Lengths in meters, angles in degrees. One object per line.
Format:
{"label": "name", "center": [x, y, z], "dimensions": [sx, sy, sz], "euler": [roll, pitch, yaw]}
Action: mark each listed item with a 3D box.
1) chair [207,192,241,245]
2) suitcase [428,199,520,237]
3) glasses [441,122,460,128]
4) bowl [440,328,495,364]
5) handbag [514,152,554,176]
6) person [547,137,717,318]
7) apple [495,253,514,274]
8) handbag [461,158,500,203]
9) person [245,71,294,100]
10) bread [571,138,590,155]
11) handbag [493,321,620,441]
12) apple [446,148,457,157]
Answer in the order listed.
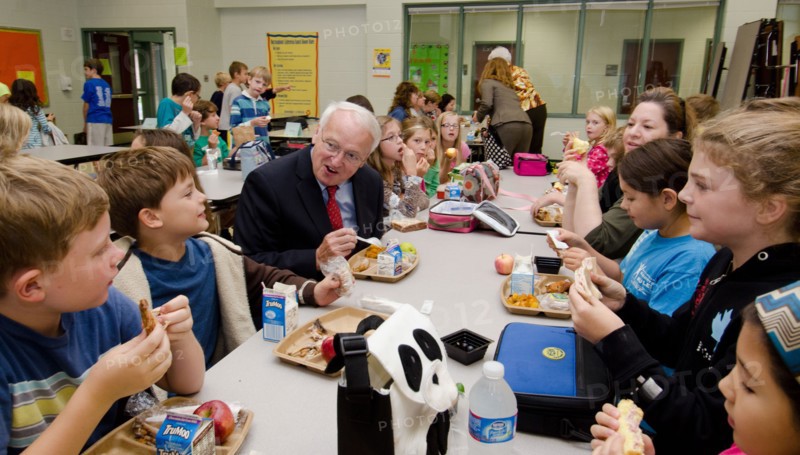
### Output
{"label": "chair", "center": [-1.647, -0.093, 4.875], "dimensions": [0.294, 0.435, 0.628], "euler": [6, 13, -21]}
{"label": "suitcase", "center": [0.506, -0.091, 3.771], "dimensions": [0.511, 0.131, 0.305], "euler": [4, 10, 9]}
{"label": "glasses", "center": [0.534, -1.055, 5.265], "dimensions": [0.201, 0.055, 0.080], "euler": [-12, 19, -32]}
{"label": "bowl", "center": [0.300, 0.556, 2.391], "dimensions": [0.168, 0.080, 0.213], "euler": [20, 21, 40]}
{"label": "handbag", "center": [1.454, -0.711, 5.713], "dimensions": [0.280, 0.168, 0.271], "euler": [1, 12, 5]}
{"label": "person", "center": [1.155, -0.153, 3.147], "dimensions": [0.917, 1.377, 0.762], "euler": [2, 19, 11]}
{"label": "apple", "center": [0.632, 0.219, 3.123], "dimensions": [0.107, 0.108, 0.111], "euler": [12, 28, 44]}
{"label": "handbag", "center": [0.726, -0.404, 4.560], "dimensions": [0.301, 0.355, 0.383], "euler": [5, 18, 34]}
{"label": "person", "center": [-1.984, -1.947, 7.162], "dimensions": [0.597, 0.324, 0.777], "euler": [5, 10, -44]}
{"label": "bread", "center": [1.704, -0.773, 4.823], "dimensions": [0.161, 0.073, 0.204], "euler": [-12, 8, 12]}
{"label": "handbag", "center": [0.688, 0.656, 2.339], "dimensions": [0.500, 0.196, 0.682], "euler": [3, 19, 18]}
{"label": "apple", "center": [0.532, -0.776, 5.269], "dimensions": [0.086, 0.087, 0.092], "euler": [-13, 10, 26]}
